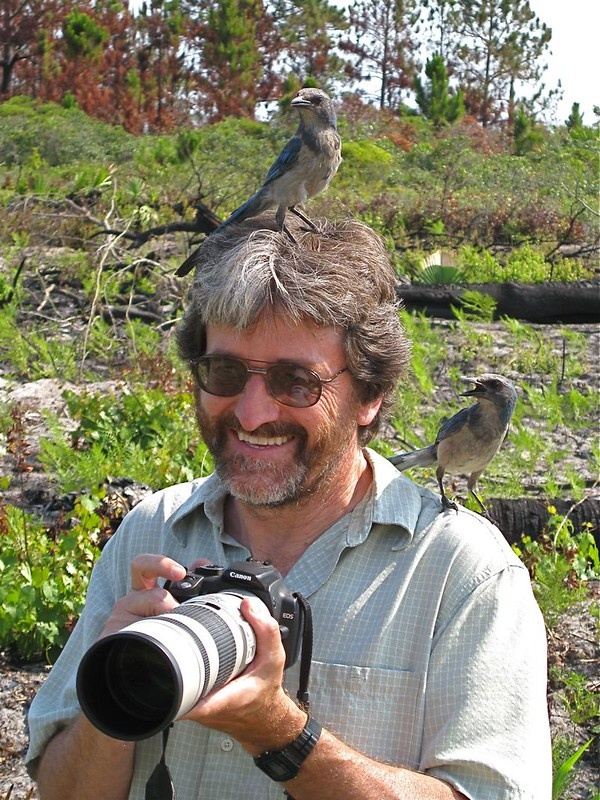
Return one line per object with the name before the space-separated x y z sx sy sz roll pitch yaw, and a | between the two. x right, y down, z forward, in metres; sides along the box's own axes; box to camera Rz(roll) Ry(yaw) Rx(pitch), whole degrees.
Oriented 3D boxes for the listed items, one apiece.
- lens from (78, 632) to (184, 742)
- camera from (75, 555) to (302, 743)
lens | -0.375 0.657 2.188 0.285 0.290 0.234 0 7 4
camera | -0.252 0.576 2.364 0.401 0.317 0.585 16 16 24
